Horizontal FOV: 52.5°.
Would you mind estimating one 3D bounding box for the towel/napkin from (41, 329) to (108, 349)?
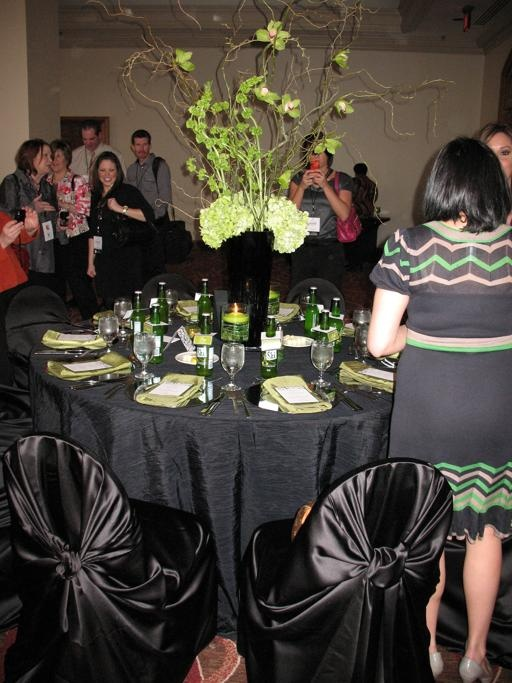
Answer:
[{"bbox_3d":[-0.703,0.001,2.014,0.167,0.036,0.125,-1,17,-12],"label":"towel/napkin"}]

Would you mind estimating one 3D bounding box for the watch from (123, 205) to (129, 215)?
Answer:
[{"bbox_3d":[-0.903,-0.903,3.591,0.023,0.050,0.039,0,1,-18],"label":"watch"}]

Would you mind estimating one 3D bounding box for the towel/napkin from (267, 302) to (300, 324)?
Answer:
[{"bbox_3d":[0.158,-0.139,2.574,0.116,0.034,0.115,10,30,38],"label":"towel/napkin"}]

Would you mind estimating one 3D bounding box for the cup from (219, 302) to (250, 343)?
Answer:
[{"bbox_3d":[-0.074,-0.071,1.914,0.114,0.153,0.107,2,20,-1],"label":"cup"}]

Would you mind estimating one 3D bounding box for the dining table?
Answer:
[{"bbox_3d":[-0.125,0.353,1.615,0.874,0.488,0.824,-1,20,-7],"label":"dining table"}]

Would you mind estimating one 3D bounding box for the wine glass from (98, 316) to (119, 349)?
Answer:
[{"bbox_3d":[-0.545,-0.031,1.910,0.095,0.142,0.091,-3,47,-19],"label":"wine glass"}]

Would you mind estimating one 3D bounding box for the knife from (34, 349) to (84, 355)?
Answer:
[{"bbox_3d":[-0.733,0.039,1.939,0.160,0.008,0.017,-2,13,-18],"label":"knife"}]

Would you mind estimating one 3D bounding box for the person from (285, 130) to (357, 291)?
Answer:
[{"bbox_3d":[0.366,-0.762,3.317,0.411,0.859,0.585,7,17,22],"label":"person"}]

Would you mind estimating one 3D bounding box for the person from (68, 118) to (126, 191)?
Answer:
[{"bbox_3d":[-2.500,-2.674,7.826,0.922,0.368,1.242,-3,-21,-21],"label":"person"}]

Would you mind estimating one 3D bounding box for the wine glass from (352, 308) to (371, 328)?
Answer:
[{"bbox_3d":[0.437,-0.099,2.146,0.085,0.077,0.080,-2,12,-9],"label":"wine glass"}]
